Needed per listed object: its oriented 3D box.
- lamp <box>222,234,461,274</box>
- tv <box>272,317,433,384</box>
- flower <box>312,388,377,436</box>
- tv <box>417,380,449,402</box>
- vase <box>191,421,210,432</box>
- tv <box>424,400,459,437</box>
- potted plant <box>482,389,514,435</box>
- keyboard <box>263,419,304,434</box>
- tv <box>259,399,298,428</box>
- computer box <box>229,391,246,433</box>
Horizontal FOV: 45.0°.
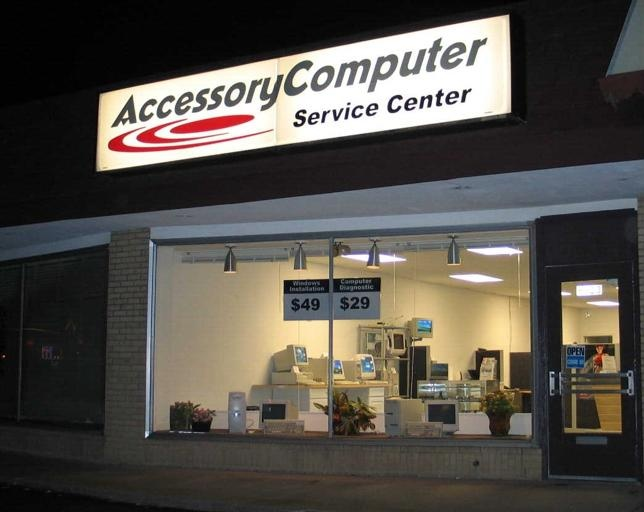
[{"bbox_3d":[0.207,-0.008,12.573,3.980,0.474,0.733,-3,-12,16],"label":"lamp"},{"bbox_3d":[0.543,2.262,13.765,0.951,1.889,2.961,-8,-8,44],"label":"tv"},{"bbox_3d":[0.498,2.454,12.074,0.680,0.654,0.344,0,-11,2],"label":"flower"},{"bbox_3d":[1.895,2.263,13.216,0.334,0.309,0.763,8,-14,-32],"label":"tv"},{"bbox_3d":[-1.935,2.722,12.436,0.193,0.126,0.177,-1,-8,6],"label":"vase"},{"bbox_3d":[1.872,2.451,12.019,0.672,0.724,0.390,-3,-17,12],"label":"tv"},{"bbox_3d":[2.665,2.311,11.689,0.511,0.781,0.543,-2,3,26],"label":"potted plant"},{"bbox_3d":[-0.632,2.689,12.219,0.704,0.223,0.295,-2,-12,10],"label":"keyboard"},{"bbox_3d":[-0.722,2.496,12.492,0.415,0.342,0.421,2,-8,-36],"label":"tv"},{"bbox_3d":[-1.372,2.512,12.492,0.301,0.648,0.340,1,-11,-4],"label":"computer box"}]
